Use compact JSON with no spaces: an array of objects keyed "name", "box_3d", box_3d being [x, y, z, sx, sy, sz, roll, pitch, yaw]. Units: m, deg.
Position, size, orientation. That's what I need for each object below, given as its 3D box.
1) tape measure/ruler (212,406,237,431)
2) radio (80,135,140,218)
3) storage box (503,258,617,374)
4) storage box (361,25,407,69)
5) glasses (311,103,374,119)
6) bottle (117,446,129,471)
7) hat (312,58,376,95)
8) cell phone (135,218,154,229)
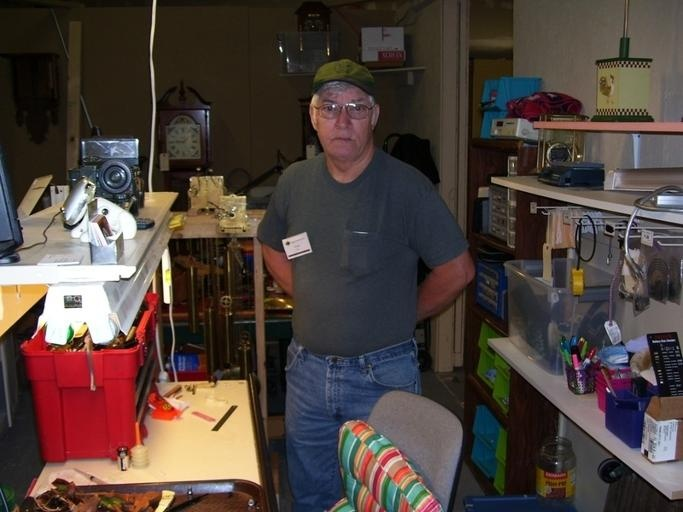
[{"name":"tape measure/ruler","box_3d":[-0.498,0.687,2.486,0.029,0.005,0.213,36,13,-6]},{"name":"radio","box_3d":[-0.800,-0.255,2.002,0.225,0.285,0.295,1,-4,-38]},{"name":"storage box","box_3d":[1.038,0.210,2.801,0.365,0.550,0.698,-3,13,-9]},{"name":"storage box","box_3d":[0.353,-1.832,5.120,0.309,0.369,0.336,1,1,11]},{"name":"glasses","box_3d":[0.010,-0.621,2.491,0.232,0.074,0.074,-4,11,-3]},{"name":"bottle","box_3d":[-0.800,0.729,2.140,0.036,0.087,0.052,-5,11,-16]},{"name":"hat","box_3d":[0.008,-0.775,2.525,0.267,0.159,0.191,-2,11,3]},{"name":"cell phone","box_3d":[-0.636,-0.107,1.891,0.055,0.028,0.086,-7,13,-18]}]
